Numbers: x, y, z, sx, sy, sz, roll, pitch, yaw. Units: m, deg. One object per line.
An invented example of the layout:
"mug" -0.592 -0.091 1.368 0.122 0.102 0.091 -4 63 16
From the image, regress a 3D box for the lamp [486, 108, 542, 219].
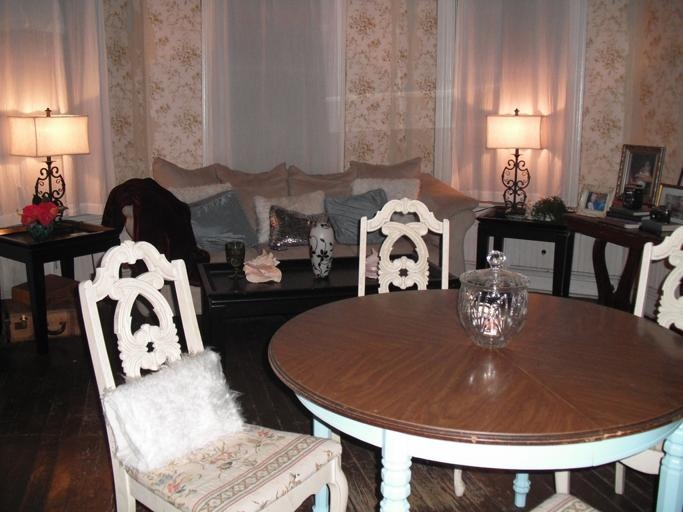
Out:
"lamp" 1.497 -0.831 4.621 0.452 0.870 0.650 4 13 20

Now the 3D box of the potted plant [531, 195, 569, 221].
"potted plant" 1.692 -0.376 4.272 0.305 0.180 0.245 10 16 42

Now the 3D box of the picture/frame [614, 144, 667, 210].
"picture/frame" 2.154 -0.554 3.802 0.054 0.593 0.449 2 6 -26

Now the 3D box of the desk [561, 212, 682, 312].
"desk" 1.805 0.020 3.415 0.238 0.579 0.570 -7 18 -15
